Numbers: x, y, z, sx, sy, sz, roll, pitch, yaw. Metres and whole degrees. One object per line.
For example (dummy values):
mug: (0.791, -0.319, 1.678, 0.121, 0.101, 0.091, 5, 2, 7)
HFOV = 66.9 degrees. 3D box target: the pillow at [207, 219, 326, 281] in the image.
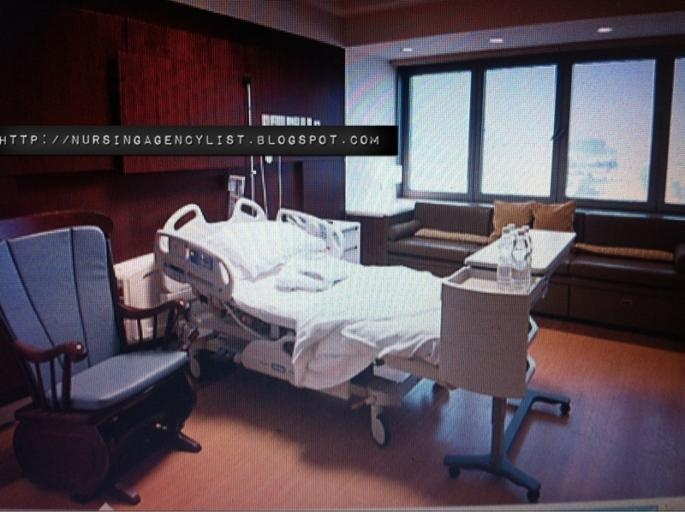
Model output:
pillow: (-0.313, -0.045, 2.066, 0.283, 0.084, 0.252, -14, 40, -30)

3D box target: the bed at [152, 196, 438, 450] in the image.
bed: (-0.127, 0.156, 2.124, 1.006, 0.686, 0.793, 13, 27, 20)

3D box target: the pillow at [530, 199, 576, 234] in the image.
pillow: (1.225, -0.235, 3.029, 0.209, 0.233, 0.086, 3, 8, 15)
